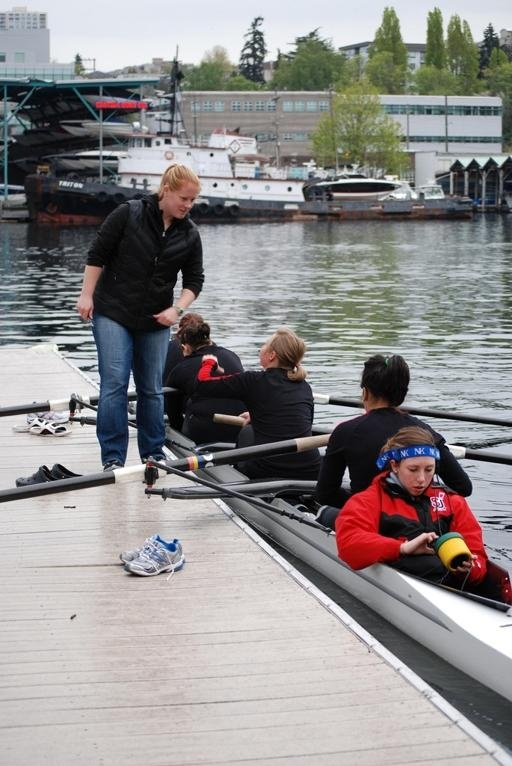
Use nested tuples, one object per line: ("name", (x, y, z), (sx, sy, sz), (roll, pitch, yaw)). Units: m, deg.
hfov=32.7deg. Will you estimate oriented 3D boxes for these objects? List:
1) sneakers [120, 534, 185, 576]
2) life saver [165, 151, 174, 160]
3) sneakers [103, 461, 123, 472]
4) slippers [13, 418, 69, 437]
("sneakers", (-0.419, 0.704, 3.624), (0.296, 0.135, 0.119), (-2, 12, -29))
("life saver", (-4.550, -11.916, 45.742), (0.436, 0.420, 0.181), (2, 9, -5))
("sneakers", (-0.720, 0.420, 4.406), (0.044, 0.043, 0.117), (3, 11, 18))
("slippers", (-1.585, 0.329, 6.420), (0.474, 0.132, 0.154), (1, 6, 27))
